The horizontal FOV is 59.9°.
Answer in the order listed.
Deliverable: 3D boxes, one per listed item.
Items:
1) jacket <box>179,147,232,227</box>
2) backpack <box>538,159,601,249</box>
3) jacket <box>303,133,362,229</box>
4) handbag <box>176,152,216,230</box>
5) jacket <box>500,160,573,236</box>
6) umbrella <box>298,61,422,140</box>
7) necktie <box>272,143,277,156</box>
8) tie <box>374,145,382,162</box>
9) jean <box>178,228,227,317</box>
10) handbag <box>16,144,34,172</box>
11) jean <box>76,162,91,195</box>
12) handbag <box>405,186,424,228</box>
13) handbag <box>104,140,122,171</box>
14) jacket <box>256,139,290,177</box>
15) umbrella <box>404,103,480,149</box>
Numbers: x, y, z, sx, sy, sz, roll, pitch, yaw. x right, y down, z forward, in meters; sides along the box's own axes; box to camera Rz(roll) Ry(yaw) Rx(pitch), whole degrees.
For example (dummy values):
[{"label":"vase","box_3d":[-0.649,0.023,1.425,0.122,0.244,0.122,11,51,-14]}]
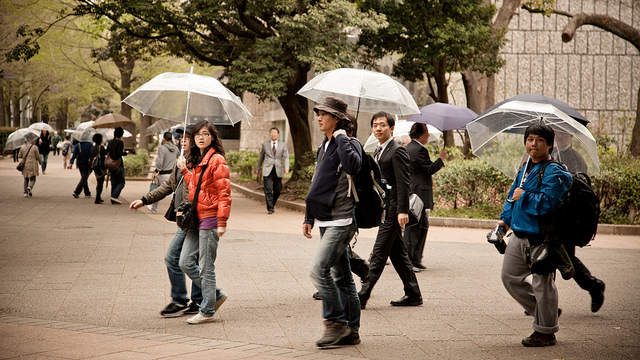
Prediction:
[{"label":"jacket","box_3d":[-1.955,0.133,9.410,0.846,1.410,1.213,8,-15,-36]},{"label":"backpack","box_3d":[3.993,0.516,8.883,0.942,1.109,0.380,-2,12,-14]},{"label":"jacket","box_3d":[0.241,0.022,9.188,0.928,1.549,1.341,6,-11,-27]},{"label":"handbag","box_3d":[-2.136,0.298,9.341,0.521,1.080,0.257,-3,13,-20]},{"label":"jacket","box_3d":[3.635,0.295,9.309,0.943,1.238,1.407,4,2,-14]},{"label":"umbrella","box_3d":[0.763,-1.594,11.511,2.026,1.272,1.983,18,13,33]},{"label":"necktie","box_3d":[-1.517,-1.021,18.386,0.144,0.334,0.177,-6,14,-33]},{"label":"tie","box_3d":[1.098,-0.506,10.357,0.057,0.169,0.134,18,-6,-25]},{"label":"jean","box_3d":[-2.028,1.552,9.454,0.684,1.515,0.400,7,13,27]},{"label":"handbag","box_3d":[-10.953,-0.801,20.518,0.544,0.970,0.644,-2,12,-14]},{"label":"jean","box_3d":[-8.853,-0.038,20.682,0.493,1.414,1.307,-4,12,-23]},{"label":"handbag","box_3d":[1.802,0.533,10.606,0.508,0.548,0.863,-9,9,16]},{"label":"handbag","box_3d":[-7.011,-0.687,18.719,0.457,0.620,0.614,5,-13,-8]},{"label":"jacket","box_3d":[-1.558,-0.677,18.419,1.017,1.240,0.684,0,12,-8]},{"label":"umbrella","box_3d":[2.982,-1.454,13.884,1.814,1.012,1.607,16,26,9]}]
